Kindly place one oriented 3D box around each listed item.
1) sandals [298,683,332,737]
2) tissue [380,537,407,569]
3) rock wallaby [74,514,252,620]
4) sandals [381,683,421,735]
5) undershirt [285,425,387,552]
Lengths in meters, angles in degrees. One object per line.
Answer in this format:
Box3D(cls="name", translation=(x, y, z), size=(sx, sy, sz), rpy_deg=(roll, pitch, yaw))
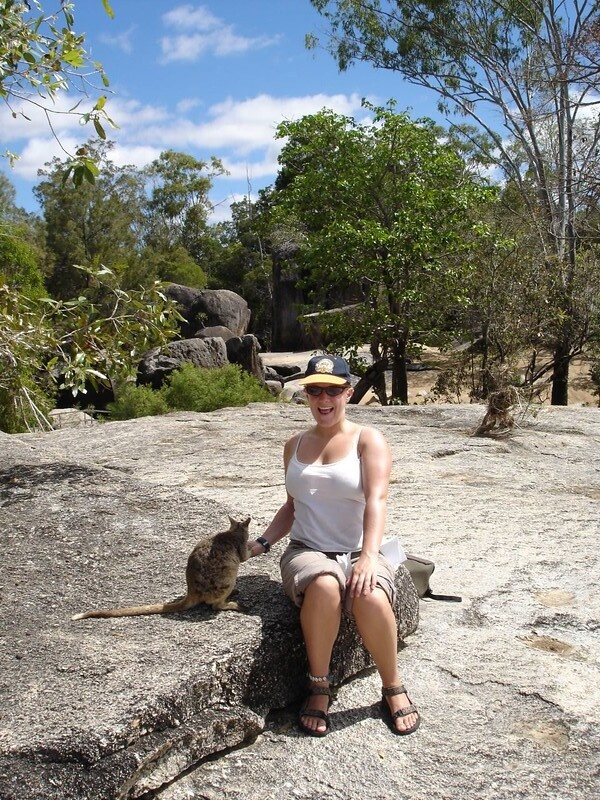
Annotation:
Box3D(cls="sandals", translation=(0.058, 1.136, 2.819), size=(0.077, 0.080, 0.219), rpy_deg=(2, -2, 4))
Box3D(cls="tissue", translation=(0.381, 0.625, 3.241), size=(0.036, 0.127, 0.132), rpy_deg=(-21, -14, -45))
Box3D(cls="rock wallaby", translation=(-0.641, 0.762, 3.518), size=(0.724, 0.340, 0.190), rpy_deg=(-11, 23, -26))
Box3D(cls="sandals", translation=(0.365, 1.131, 2.867), size=(0.093, 0.079, 0.196), rpy_deg=(-10, 9, -9))
Box3D(cls="undershirt", translation=(0.155, 0.365, 3.186), size=(0.446, 0.579, 0.310), rpy_deg=(-8, -25, 27))
